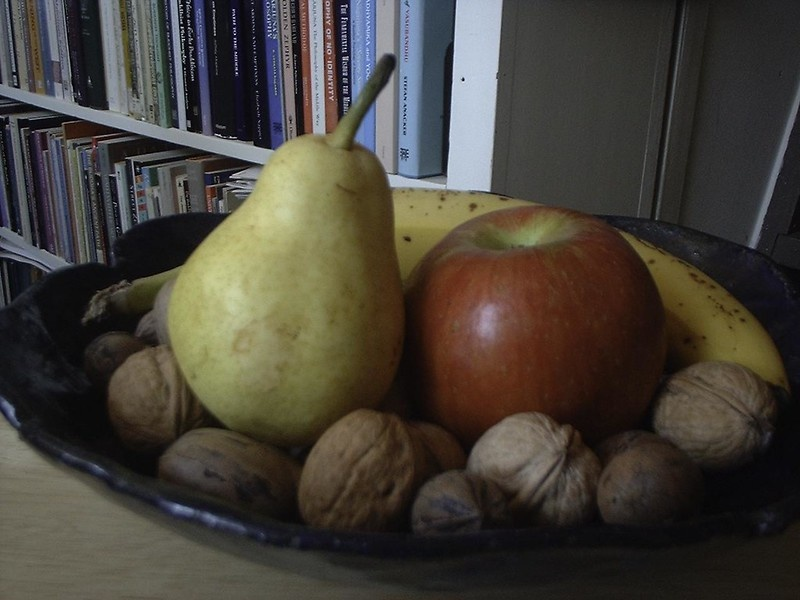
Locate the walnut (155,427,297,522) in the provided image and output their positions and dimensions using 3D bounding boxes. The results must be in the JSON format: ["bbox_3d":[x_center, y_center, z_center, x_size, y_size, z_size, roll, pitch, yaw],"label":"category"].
[{"bbox_3d":[-0.116,0.119,0.571,0.091,0.055,0.049,13,-4,4],"label":"walnut"}]

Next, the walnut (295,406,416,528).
[{"bbox_3d":[-0.028,0.122,0.560,0.087,0.066,0.055,-3,26,-13],"label":"walnut"}]

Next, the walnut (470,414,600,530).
[{"bbox_3d":[0.097,0.126,0.567,0.083,0.069,0.047,20,-15,-1],"label":"walnut"}]

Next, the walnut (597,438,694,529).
[{"bbox_3d":[0.176,0.130,0.556,0.063,0.036,0.053,-33,49,-9],"label":"walnut"}]

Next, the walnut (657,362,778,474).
[{"bbox_3d":[0.250,0.087,0.638,0.084,0.050,0.075,12,56,43],"label":"walnut"}]

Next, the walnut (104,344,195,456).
[{"bbox_3d":[-0.201,0.073,0.620,0.072,0.043,0.083,35,38,-34],"label":"walnut"}]

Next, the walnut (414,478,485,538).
[{"bbox_3d":[0.031,0.139,0.547,0.035,0.025,0.041,-44,18,-26],"label":"walnut"}]

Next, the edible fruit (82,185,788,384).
[{"bbox_3d":[0.040,-0.008,0.658,0.501,0.147,0.164,8,3,-18],"label":"edible fruit"}]

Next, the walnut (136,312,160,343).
[{"bbox_3d":[-0.215,0.026,0.676,0.013,0.027,0.021,20,-19,-37],"label":"walnut"}]

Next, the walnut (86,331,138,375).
[{"bbox_3d":[-0.229,0.044,0.638,0.033,0.021,0.034,-14,44,-15],"label":"walnut"}]
